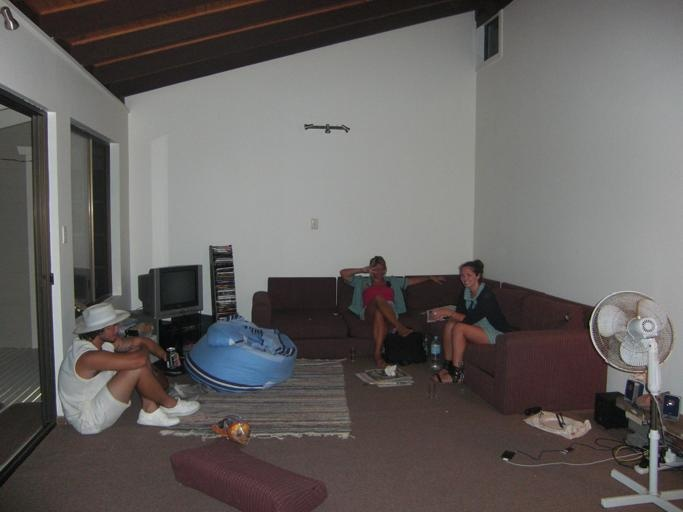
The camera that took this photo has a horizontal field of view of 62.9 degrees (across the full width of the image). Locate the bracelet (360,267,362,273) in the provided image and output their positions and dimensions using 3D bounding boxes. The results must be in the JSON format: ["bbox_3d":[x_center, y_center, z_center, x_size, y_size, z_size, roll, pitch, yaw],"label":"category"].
[{"bbox_3d":[0.232,0.160,6.615,0.041,0.043,0.011,3,-7,13],"label":"bracelet"}]

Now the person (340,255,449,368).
[{"bbox_3d":[0.424,0.593,6.293,0.955,0.674,1.048,0,11,-3],"label":"person"}]

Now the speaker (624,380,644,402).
[{"bbox_3d":[2.323,1.058,4.442,0.186,0.197,0.141,0,-3,26],"label":"speaker"}]

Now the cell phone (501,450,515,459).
[{"bbox_3d":[1.258,1.494,4.205,0.088,0.033,0.118,2,8,32],"label":"cell phone"}]

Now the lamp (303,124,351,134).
[{"bbox_3d":[-0.165,-1.567,6.824,0.574,0.126,0.090,-3,6,-3],"label":"lamp"}]

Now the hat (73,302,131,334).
[{"bbox_3d":[-1.889,0.473,4.431,0.254,0.219,0.421,3,9,40],"label":"hat"}]

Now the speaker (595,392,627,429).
[{"bbox_3d":[2.213,1.243,4.681,0.250,0.279,0.260,-2,11,-8],"label":"speaker"}]

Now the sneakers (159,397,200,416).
[{"bbox_3d":[-1.353,1.258,4.724,0.285,0.122,0.123,0,5,-22],"label":"sneakers"}]

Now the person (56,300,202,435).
[{"bbox_3d":[-1.759,0.887,4.681,1.006,0.996,0.780,-3,7,-20],"label":"person"}]

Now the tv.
[{"bbox_3d":[-1.955,0.362,6.189,0.663,0.540,0.641,3,6,26],"label":"tv"}]

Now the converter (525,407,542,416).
[{"bbox_3d":[1.623,1.305,4.727,0.076,0.042,0.101,-1,23,30],"label":"converter"}]

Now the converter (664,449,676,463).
[{"bbox_3d":[2.403,1.460,4.085,0.077,0.040,0.106,0,18,11],"label":"converter"}]

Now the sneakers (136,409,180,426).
[{"bbox_3d":[-1.511,1.336,4.651,0.333,0.153,0.137,4,-4,-7],"label":"sneakers"}]

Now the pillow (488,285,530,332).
[{"bbox_3d":[1.796,0.516,5.874,0.288,0.417,0.120,9,-34,-36],"label":"pillow"}]

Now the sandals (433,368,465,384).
[{"bbox_3d":[1.057,1.141,5.422,0.255,0.102,0.139,3,-1,5],"label":"sandals"}]

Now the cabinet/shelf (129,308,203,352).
[{"bbox_3d":[-1.861,0.582,6.033,0.413,0.702,0.669,4,7,25],"label":"cabinet/shelf"}]

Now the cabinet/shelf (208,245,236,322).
[{"bbox_3d":[-1.396,0.295,6.591,0.291,0.852,0.344,-3,6,-12],"label":"cabinet/shelf"}]

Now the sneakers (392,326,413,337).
[{"bbox_3d":[0.647,0.800,5.971,0.225,0.086,0.086,-5,0,43],"label":"sneakers"}]
